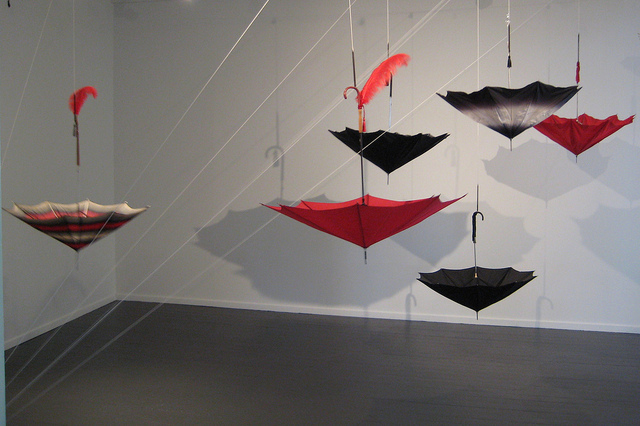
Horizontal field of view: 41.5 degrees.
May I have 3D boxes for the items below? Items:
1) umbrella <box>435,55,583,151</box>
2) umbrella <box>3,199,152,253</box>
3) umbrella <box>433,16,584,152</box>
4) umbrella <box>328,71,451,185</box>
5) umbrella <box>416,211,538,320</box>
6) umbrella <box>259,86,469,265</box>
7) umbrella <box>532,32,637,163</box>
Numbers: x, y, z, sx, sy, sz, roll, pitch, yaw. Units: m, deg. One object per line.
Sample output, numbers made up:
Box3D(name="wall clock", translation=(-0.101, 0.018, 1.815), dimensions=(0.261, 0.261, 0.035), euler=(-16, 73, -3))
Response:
Box3D(name="umbrella", translation=(2.033, -1.243, 9.004), dimensions=(1.414, 1.203, 1.551), euler=(-1, 3, 34))
Box3D(name="umbrella", translation=(-2.474, 0.073, 8.542), dimensions=(0.729, 0.348, 0.806), euler=(7, -9, -43))
Box3D(name="umbrella", translation=(1.934, -1.299, 8.921), dimensions=(1.240, 1.214, 1.203), euler=(4, -8, -44))
Box3D(name="umbrella", translation=(0.764, -0.934, 9.403), dimensions=(0.948, 1.107, 1.058), euler=(2, 3, -1))
Box3D(name="umbrella", translation=(1.647, 0.536, 8.936), dimensions=(1.134, 1.278, 1.253), euler=(-1, 6, 22))
Box3D(name="umbrella", translation=(0.411, -0.504, 9.149), dimensions=(1.900, 2.037, 1.987), euler=(-3, 0, -26))
Box3D(name="umbrella", translation=(2.822, -1.277, 9.195), dimensions=(0.908, 1.315, 1.015), euler=(0, 3, 6))
